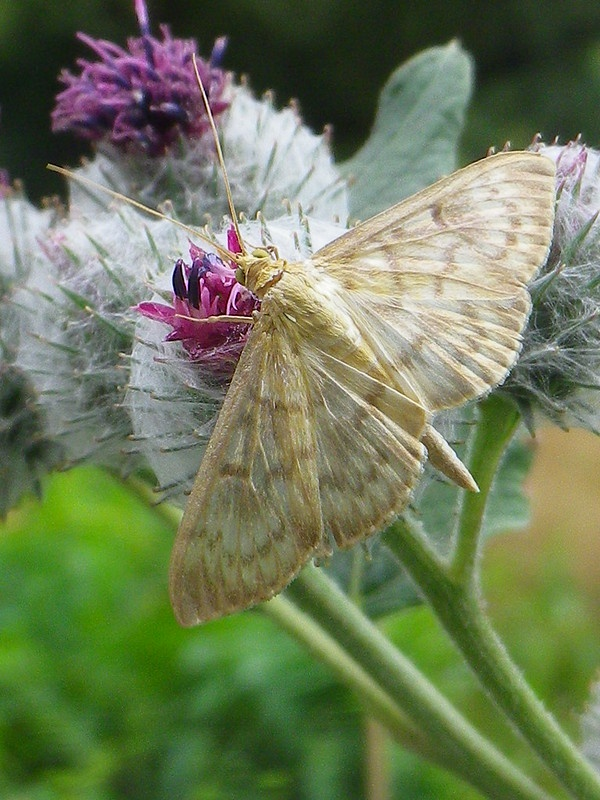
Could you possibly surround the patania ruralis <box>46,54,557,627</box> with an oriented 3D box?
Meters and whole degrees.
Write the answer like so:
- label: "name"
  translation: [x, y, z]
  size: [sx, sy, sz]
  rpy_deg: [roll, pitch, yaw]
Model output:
- label: "patania ruralis"
  translation: [0.053, -0.024, 0.731]
  size: [0.374, 0.360, 0.181]
  rpy_deg: [-6, 18, -9]
